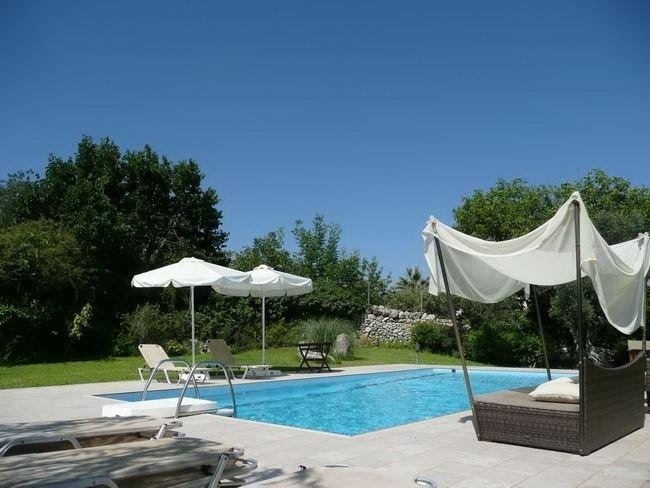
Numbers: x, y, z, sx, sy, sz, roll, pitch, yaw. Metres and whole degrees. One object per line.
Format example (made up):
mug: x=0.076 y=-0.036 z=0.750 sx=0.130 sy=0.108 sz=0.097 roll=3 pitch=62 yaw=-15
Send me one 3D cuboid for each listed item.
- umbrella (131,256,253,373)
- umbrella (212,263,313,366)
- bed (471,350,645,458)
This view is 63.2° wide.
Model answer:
umbrella: x=-3.600 y=1.638 z=14.884 sx=3.312 sy=2.882 sz=3.394 roll=-6 pitch=-6 yaw=37
umbrella: x=-1.889 y=2.059 z=16.422 sx=3.005 sy=2.797 sz=2.962 roll=-2 pitch=-4 yaw=-13
bed: x=3.248 y=2.634 z=7.690 sx=1.519 sy=1.122 sz=2.103 roll=-7 pitch=-8 yaw=45
